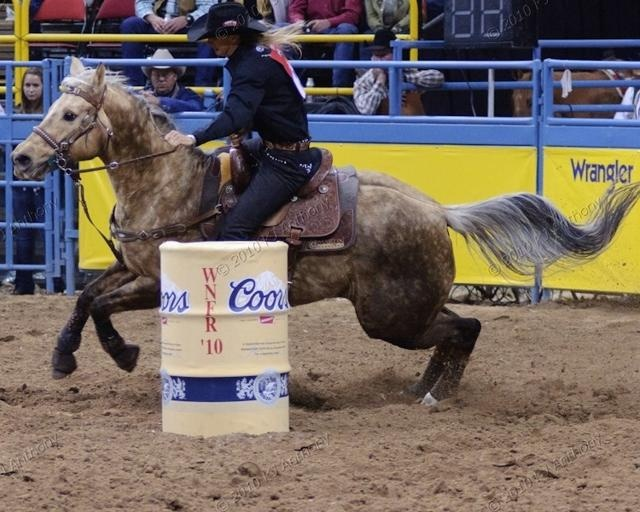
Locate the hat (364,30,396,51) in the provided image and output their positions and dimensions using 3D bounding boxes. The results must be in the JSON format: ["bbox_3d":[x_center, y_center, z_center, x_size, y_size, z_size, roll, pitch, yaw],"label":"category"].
[{"bbox_3d":[0.767,-2.494,14.628,0.303,0.222,0.447,0,12,2],"label":"hat"}]

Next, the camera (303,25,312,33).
[{"bbox_3d":[-0.090,-2.750,15.379,0.079,0.061,0.071,2,0,-33],"label":"camera"}]

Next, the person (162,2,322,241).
[{"bbox_3d":[-0.505,-1.084,10.220,1.143,1.871,0.516,-10,17,-32],"label":"person"}]

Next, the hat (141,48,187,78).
[{"bbox_3d":[-1.734,-2.225,14.605,0.679,0.234,0.675,1,-13,-4],"label":"hat"}]

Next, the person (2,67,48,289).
[{"bbox_3d":[-3.455,-0.914,15.188,0.517,2.462,0.395,0,7,-21],"label":"person"}]

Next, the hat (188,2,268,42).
[{"bbox_3d":[-0.685,-1.879,10.153,0.544,0.168,0.348,-11,19,-6],"label":"hat"}]
